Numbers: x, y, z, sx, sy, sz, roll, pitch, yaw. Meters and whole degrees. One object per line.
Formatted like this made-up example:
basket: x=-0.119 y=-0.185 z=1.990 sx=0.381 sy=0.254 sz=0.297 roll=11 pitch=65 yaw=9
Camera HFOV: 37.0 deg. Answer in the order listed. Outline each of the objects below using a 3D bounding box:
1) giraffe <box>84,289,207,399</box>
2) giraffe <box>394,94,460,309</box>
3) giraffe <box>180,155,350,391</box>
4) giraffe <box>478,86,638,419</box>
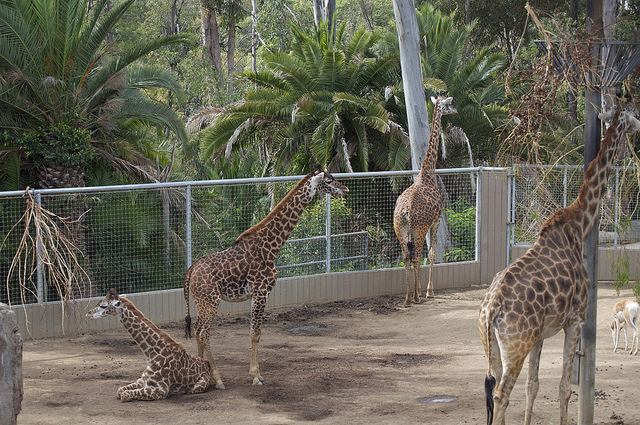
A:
giraffe: x=-2.954 y=2.456 z=17.141 sx=2.254 sy=2.032 sz=0.961 roll=1 pitch=-16 yaw=-21
giraffe: x=2.437 y=-0.286 z=22.412 sx=1.180 sy=4.579 sz=2.933 roll=2 pitch=14 yaw=13
giraffe: x=-1.508 y=0.870 z=19.094 sx=2.969 sy=4.034 sz=4.419 roll=-7 pitch=16 yaw=-21
giraffe: x=3.680 y=0.848 z=15.500 sx=1.488 sy=5.563 sz=2.941 roll=10 pitch=18 yaw=39
